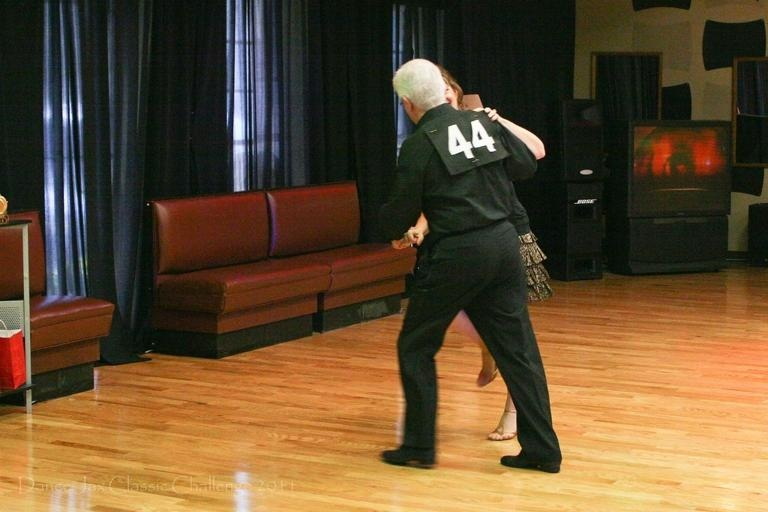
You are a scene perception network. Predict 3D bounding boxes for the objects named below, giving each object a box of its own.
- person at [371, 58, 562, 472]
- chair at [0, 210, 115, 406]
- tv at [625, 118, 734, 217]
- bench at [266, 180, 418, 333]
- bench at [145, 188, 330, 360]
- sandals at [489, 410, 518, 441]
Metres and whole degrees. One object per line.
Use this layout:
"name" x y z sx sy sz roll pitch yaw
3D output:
"person" 0.389 0.071 3.147 0.833 1.955 0.330 -1 10 -1
"chair" -2.206 0.314 4.283 0.535 1.158 0.636 4 11 28
"tv" 3.462 -1.047 7.925 1.389 1.007 0.172 0 0 -11
"bench" -0.687 0.036 6.031 1.562 1.312 0.939 -12 14 -26
"bench" -0.859 0.098 5.582 1.721 1.268 0.925 -7 10 -41
"sandals" 0.657 0.927 3.599 0.092 0.095 0.268 -2 -5 37
